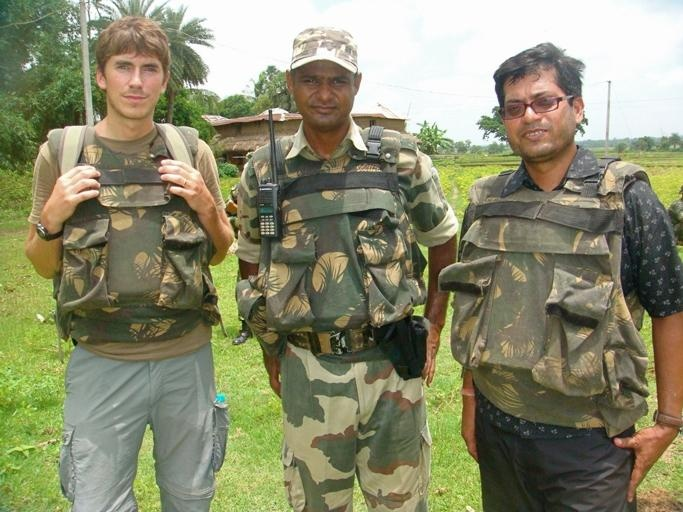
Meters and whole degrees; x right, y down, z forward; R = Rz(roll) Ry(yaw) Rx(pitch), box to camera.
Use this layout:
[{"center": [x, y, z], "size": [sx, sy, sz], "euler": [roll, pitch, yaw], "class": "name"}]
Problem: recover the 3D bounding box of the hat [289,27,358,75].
[{"center": [-0.092, -1.160, 3.360], "size": [0.387, 0.252, 0.513], "euler": [0, 10, 2], "class": "hat"}]
